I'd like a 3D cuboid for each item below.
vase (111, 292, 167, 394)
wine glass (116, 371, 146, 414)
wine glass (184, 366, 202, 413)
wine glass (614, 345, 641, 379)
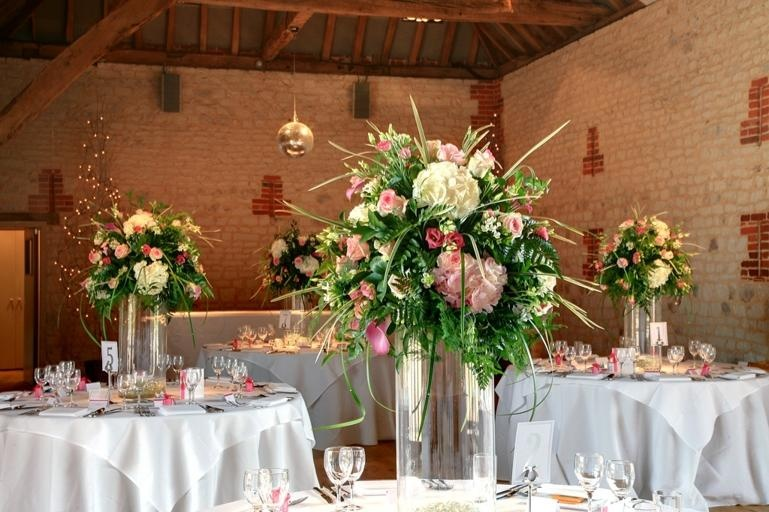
[{"bbox_3d":[-1.565,0.566,4.490,0.289,0.619,0.161,3,-7,-23],"label":"vase"},{"bbox_3d":[-1.593,0.847,4.362,0.161,0.245,0.325,3,-7,-19],"label":"wine glass"},{"bbox_3d":[-1.241,0.839,4.515,0.122,0.215,0.304,2,-7,-16],"label":"wine glass"},{"bbox_3d":[1.874,0.825,5.391,0.184,0.290,0.181,-2,-2,17],"label":"wine glass"}]
